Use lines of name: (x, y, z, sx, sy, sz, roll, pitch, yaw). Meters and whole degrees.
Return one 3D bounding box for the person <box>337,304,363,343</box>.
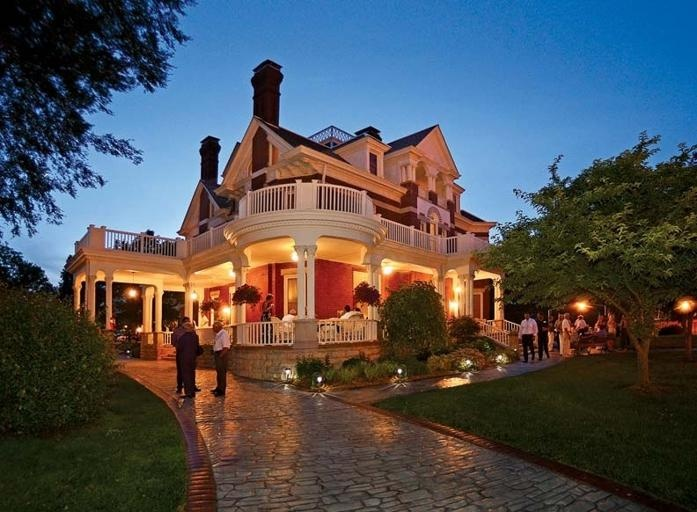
person: (0.017, 2.512, 19.710, 0.976, 1.372, 1.016, 8, -11, -34)
